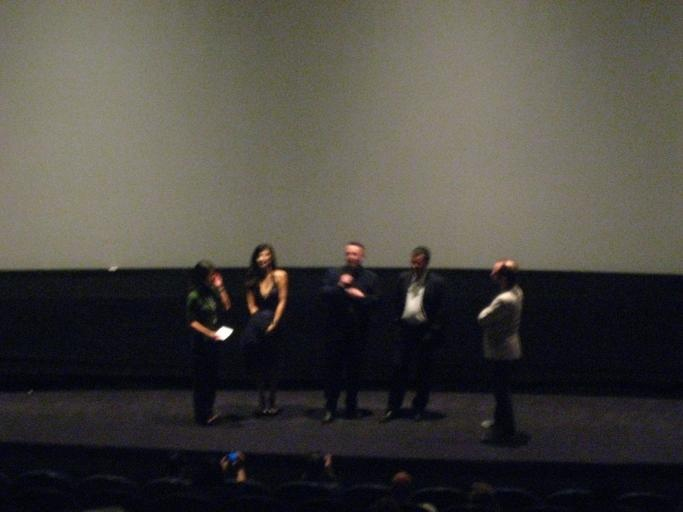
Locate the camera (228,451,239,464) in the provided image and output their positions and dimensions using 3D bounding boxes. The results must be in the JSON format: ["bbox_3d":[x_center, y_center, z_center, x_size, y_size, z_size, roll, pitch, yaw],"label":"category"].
[{"bbox_3d":[-0.850,1.564,5.160,0.059,0.033,0.086,8,23,6],"label":"camera"}]

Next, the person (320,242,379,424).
[{"bbox_3d":[0.038,0.653,5.713,0.478,1.529,0.276,5,6,-3],"label":"person"}]

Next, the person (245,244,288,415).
[{"bbox_3d":[-0.686,0.655,5.750,0.362,1.496,0.304,5,6,0],"label":"person"}]

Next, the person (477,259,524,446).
[{"bbox_3d":[1.398,0.753,5.651,0.470,1.466,0.814,6,6,14],"label":"person"}]

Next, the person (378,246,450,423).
[{"bbox_3d":[0.680,0.663,5.866,0.440,1.502,0.632,6,6,9],"label":"person"}]

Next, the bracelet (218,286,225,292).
[{"bbox_3d":[-1.029,0.284,5.625,0.041,0.034,0.043,2,6,21],"label":"bracelet"}]
